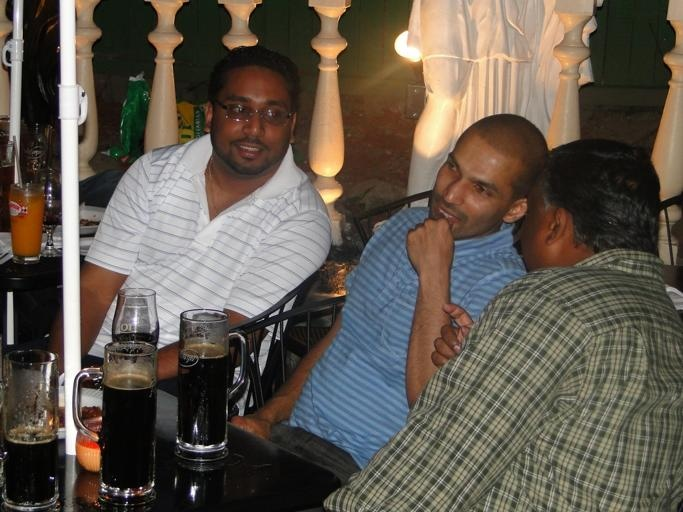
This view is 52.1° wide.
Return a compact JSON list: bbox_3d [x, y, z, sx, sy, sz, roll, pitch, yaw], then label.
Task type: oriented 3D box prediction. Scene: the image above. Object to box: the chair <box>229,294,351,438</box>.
[{"bbox_3d":[-0.203,0.376,2.617,0.396,0.540,0.429,12,3,-20],"label":"chair"}]
